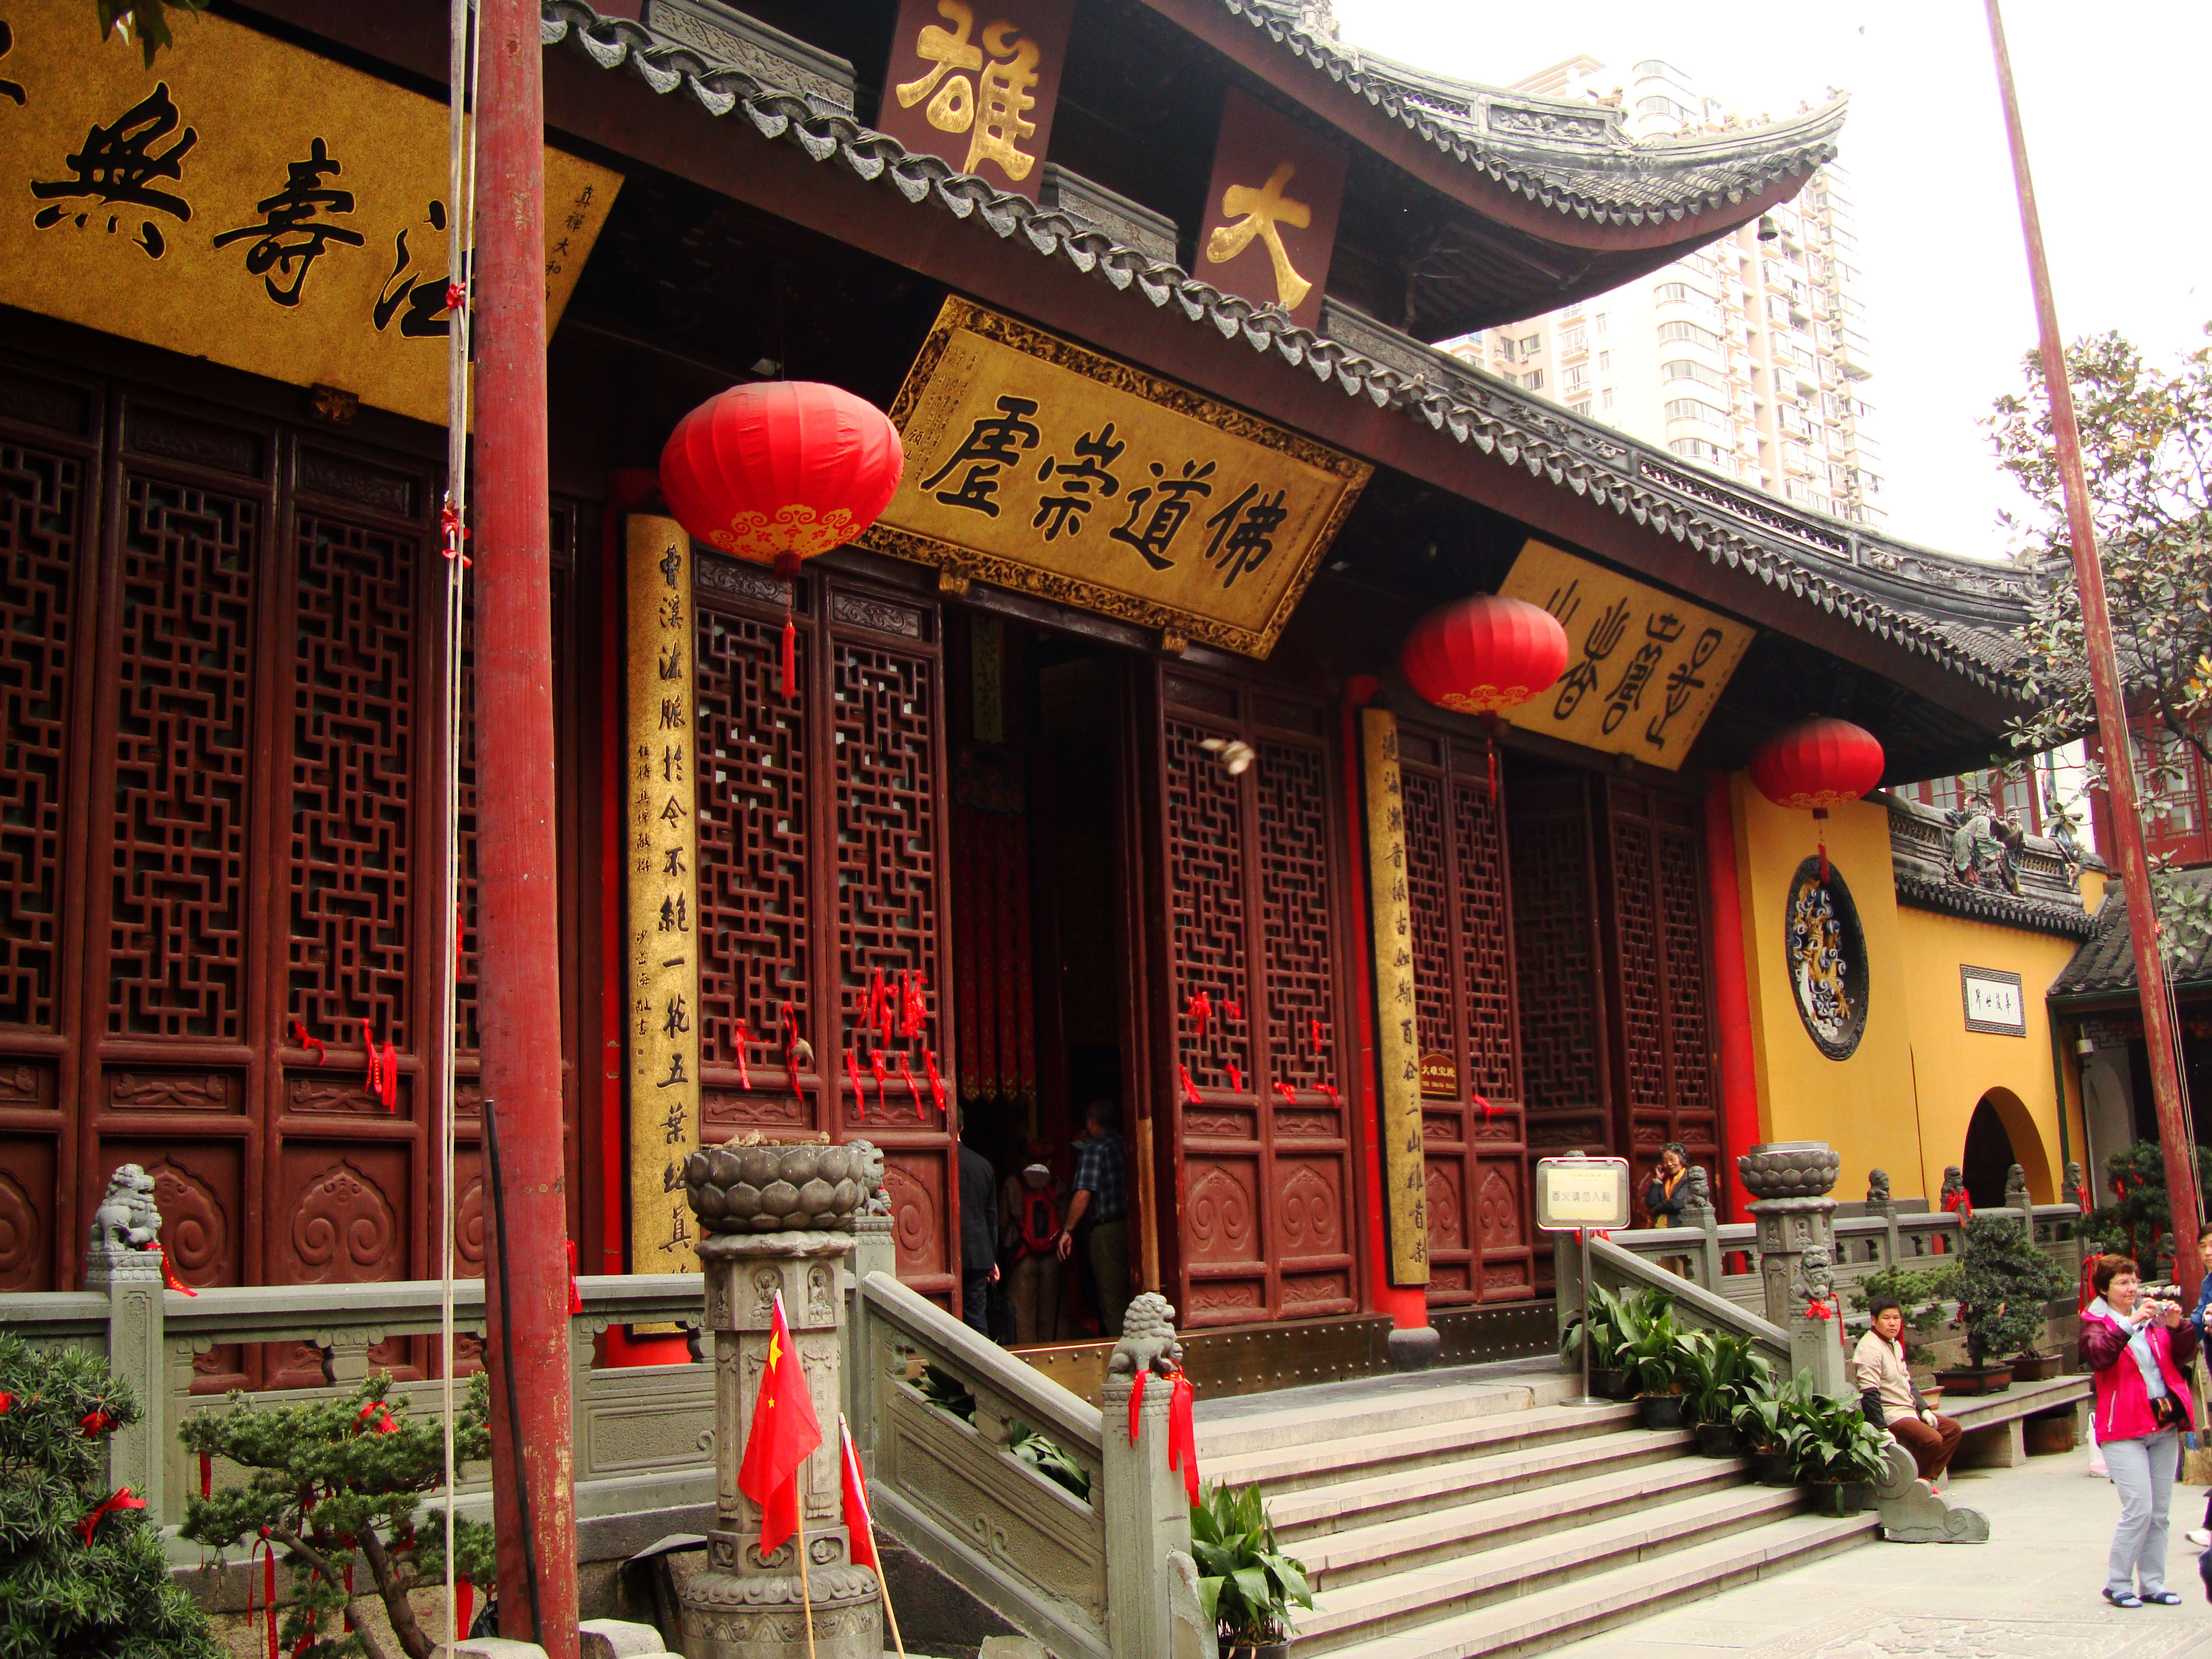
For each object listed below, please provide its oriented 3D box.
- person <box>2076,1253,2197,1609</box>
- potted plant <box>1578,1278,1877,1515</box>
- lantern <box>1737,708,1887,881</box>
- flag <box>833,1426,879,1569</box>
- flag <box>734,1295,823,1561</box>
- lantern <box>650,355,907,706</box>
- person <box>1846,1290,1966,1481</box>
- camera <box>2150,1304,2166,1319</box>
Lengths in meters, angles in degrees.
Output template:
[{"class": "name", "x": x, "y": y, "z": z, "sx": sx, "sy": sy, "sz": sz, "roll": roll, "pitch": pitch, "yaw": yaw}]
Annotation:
[{"class": "person", "x": 4.171, "y": 2.399, "z": 7.188, "sx": 0.455, "sy": 1.320, "sz": 0.832, "roll": -10, "pitch": -14, "yaw": 27}, {"class": "potted plant", "x": 2.993, "y": 2.719, "z": 8.489, "sx": 0.659, "sy": 0.666, "sz": 1.638, "roll": -1, "pitch": 8, "yaw": -44}, {"class": "lantern", "x": 4.836, "y": -0.337, "z": 12.171, "sx": 0.720, "sy": 0.910, "sz": 0.757, "roll": -1, "pitch": -9, "yaw": -2}, {"class": "flag", "x": -0.721, "y": 1.922, "z": 5.130, "sx": 0.085, "sy": 0.157, "sz": 0.641, "roll": 7, "pitch": 21, "yaw": -14}, {"class": "flag", "x": -0.879, "y": 1.604, "z": 4.826, "sx": 0.224, "sy": 0.681, "sz": 0.348, "roll": -1, "pitch": -12, "yaw": -13}, {"class": "lantern", "x": -1.117, "y": -1.127, "z": 6.302, "sx": 0.685, "sy": 0.991, "sz": 0.709, "roll": -2, "pitch": -5, "yaw": -14}, {"class": "person", "x": 4.157, "y": 2.924, "z": 9.267, "sx": 0.398, "sy": 0.932, "sz": 0.475, "roll": -1, "pitch": 3, "yaw": -39}, {"class": "camera", "x": 4.221, "y": 1.918, "z": 7.143, "sx": 0.037, "sy": 0.044, "sz": 0.062, "roll": -3, "pitch": -16, "yaw": 25}]
